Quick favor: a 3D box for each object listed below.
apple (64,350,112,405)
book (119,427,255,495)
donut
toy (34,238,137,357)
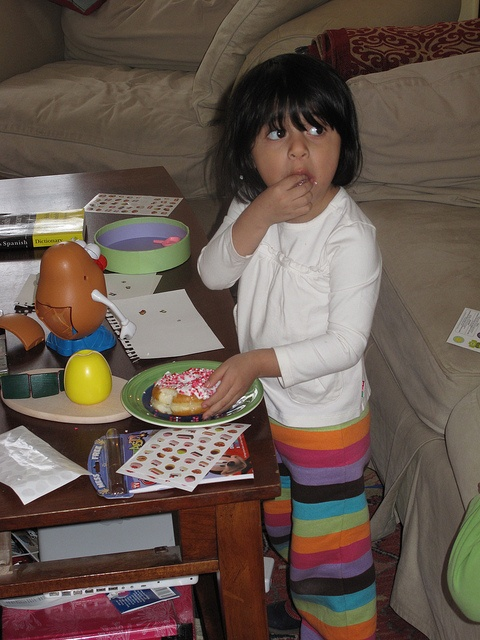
[{"bbox_3d":[-0.176,0.066,0.631,0.062,0.060,0.060,1,17,-2],"label":"apple"},{"bbox_3d":[-0.055,0.139,0.526,0.133,0.017,0.116,-3,24,-1],"label":"book"},{"bbox_3d":[-0.076,0.087,0.613,0.075,0.027,0.083,3,13,-15],"label":"donut"},{"bbox_3d":[-0.230,-0.027,0.775,0.171,0.151,0.107,16,32,20],"label":"toy"}]
